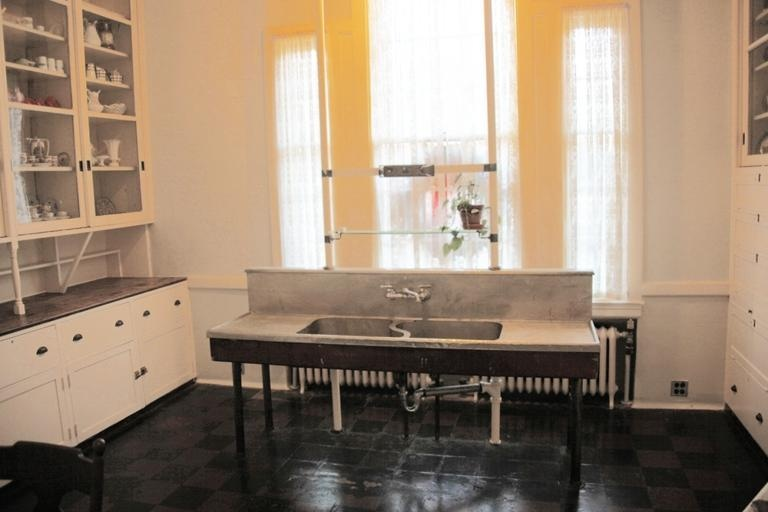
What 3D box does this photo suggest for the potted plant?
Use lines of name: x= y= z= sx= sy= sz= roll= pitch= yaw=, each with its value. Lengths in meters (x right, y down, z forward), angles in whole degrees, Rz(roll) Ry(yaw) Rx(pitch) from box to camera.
potted plant: x=0.641 y=-0.388 z=4.644 sx=0.375 sy=0.519 sz=0.470 roll=-1 pitch=-10 yaw=-37

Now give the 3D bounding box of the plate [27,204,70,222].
plate: x=-2.607 y=-0.347 z=4.768 sx=0.034 sy=0.135 sz=0.332 roll=3 pitch=8 yaw=25

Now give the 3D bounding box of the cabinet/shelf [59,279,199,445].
cabinet/shelf: x=-2.314 y=0.825 z=5.226 sx=0.547 sy=1.000 sz=1.507 roll=-2 pitch=9 yaw=21

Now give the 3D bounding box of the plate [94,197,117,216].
plate: x=-2.370 y=-0.427 z=5.187 sx=0.043 sy=0.130 sz=0.137 roll=6 pitch=2 yaw=32

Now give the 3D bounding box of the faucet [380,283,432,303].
faucet: x=0.216 y=0.267 z=4.418 sx=0.498 sy=0.155 sz=0.113 roll=1 pitch=1 yaw=18

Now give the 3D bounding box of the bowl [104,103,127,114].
bowl: x=-2.316 y=-1.285 z=5.294 sx=0.119 sy=0.048 sz=0.097 roll=3 pitch=4 yaw=39

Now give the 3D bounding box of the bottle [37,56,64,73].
bottle: x=-2.587 y=-1.491 z=4.748 sx=0.013 sy=0.116 sz=0.219 roll=5 pitch=8 yaw=32

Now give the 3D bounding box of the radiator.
radiator: x=0.594 y=0.905 z=4.878 sx=2.940 sy=0.771 sz=1.317 roll=0 pitch=7 yaw=-1

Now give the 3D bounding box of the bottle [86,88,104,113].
bottle: x=-2.402 y=-1.289 z=5.077 sx=0.124 sy=0.155 sz=0.166 roll=8 pitch=8 yaw=39

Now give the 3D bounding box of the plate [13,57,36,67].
plate: x=-2.686 y=-1.461 z=4.585 sx=0.012 sy=0.064 sz=0.156 roll=3 pitch=8 yaw=24
